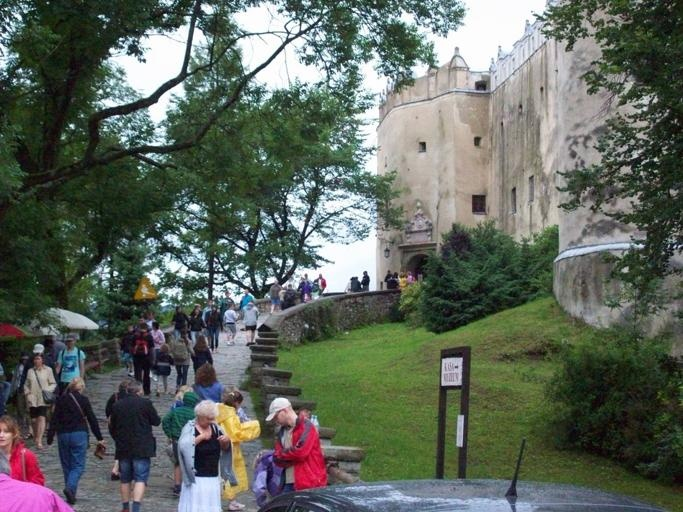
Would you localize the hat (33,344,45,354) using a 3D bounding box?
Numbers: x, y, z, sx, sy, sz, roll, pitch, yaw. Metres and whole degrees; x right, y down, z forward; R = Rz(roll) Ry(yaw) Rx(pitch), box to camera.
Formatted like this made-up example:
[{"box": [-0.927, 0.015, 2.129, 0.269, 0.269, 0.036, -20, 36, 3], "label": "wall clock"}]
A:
[{"box": [-6.953, 2.115, 25.947, 0.236, 0.110, 0.327, 1, 10, -9], "label": "hat"}]

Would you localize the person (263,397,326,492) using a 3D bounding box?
[{"box": [-0.800, 3.719, 20.066, 1.084, 2.151, 0.872, -1, -4, -18], "label": "person"}]
